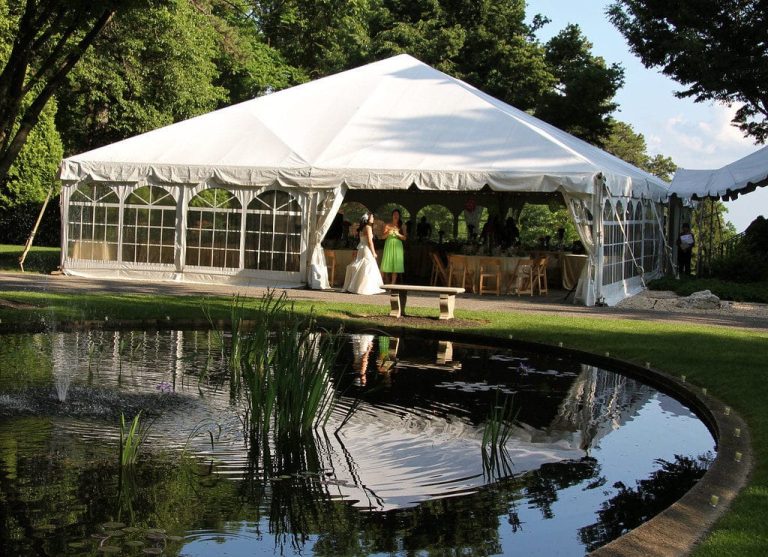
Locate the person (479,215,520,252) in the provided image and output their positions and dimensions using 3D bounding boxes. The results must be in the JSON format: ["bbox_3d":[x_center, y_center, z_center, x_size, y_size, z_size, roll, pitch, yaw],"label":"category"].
[{"bbox_3d":[3.395,-1.333,21.817,1.292,1.005,1.337,4,14,16],"label":"person"}]

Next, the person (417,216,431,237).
[{"bbox_3d":[1.373,-1.735,25.532,0.379,0.688,1.088,3,8,8],"label":"person"}]

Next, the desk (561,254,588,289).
[{"bbox_3d":[5.235,-0.237,20.866,0.947,1.134,0.984,2,7,12],"label":"desk"}]

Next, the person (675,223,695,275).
[{"bbox_3d":[10.086,-1.016,25.296,0.518,1.652,2.536,5,8,21],"label":"person"}]

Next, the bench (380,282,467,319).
[{"bbox_3d":[0.705,0.438,13.902,1.459,0.564,0.538,2,0,21],"label":"bench"}]

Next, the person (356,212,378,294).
[{"bbox_3d":[-0.308,-0.575,17.271,0.544,1.783,1.533,2,7,-2],"label":"person"}]
